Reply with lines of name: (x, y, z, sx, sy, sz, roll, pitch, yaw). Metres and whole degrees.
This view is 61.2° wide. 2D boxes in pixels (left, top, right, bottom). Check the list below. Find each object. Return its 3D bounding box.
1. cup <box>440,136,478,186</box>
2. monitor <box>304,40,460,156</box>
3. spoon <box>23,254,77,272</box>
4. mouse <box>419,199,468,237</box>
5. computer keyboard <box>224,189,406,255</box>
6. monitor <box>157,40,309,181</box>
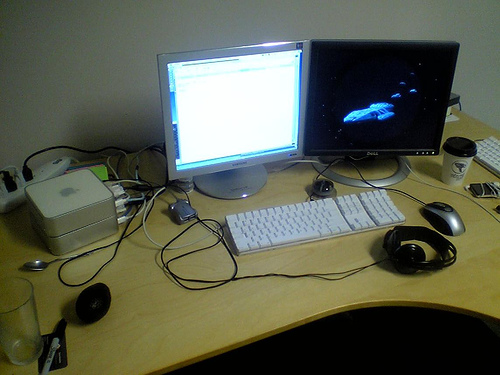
cup: (0.794, -0.087, 1.645, 0.119, 0.152, 0.117, 6, 13, -1)
monitor: (0.478, -0.332, 1.601, 0.504, 0.437, 0.068, -1, 29, 4)
spoon: (-0.635, 0.243, 1.375, 0.176, 0.026, 0.036, -15, 49, -33)
mouse: (0.682, 0.114, 1.507, 0.081, 0.059, 0.163, -14, 42, -13)
computer keyboard: (0.226, 0.123, 1.498, 0.615, 0.065, 0.180, -10, 36, -12)
monitor: (-0.057, -0.271, 1.510, 0.506, 0.438, 0.037, -11, 28, -18)
